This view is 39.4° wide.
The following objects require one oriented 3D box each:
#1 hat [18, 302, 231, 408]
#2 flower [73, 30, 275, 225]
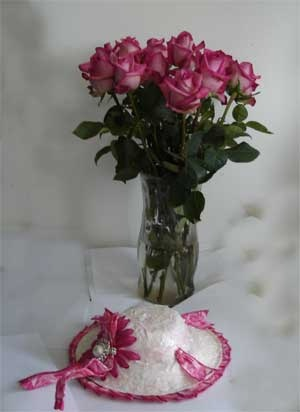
[{"bbox_3d":[-0.018,0.253,0.705,0.237,0.076,0.180,-7,22,-28],"label":"hat"},{"bbox_3d":[0.050,-0.154,0.861,0.366,0.342,0.294,-4,7,-9],"label":"flower"}]
